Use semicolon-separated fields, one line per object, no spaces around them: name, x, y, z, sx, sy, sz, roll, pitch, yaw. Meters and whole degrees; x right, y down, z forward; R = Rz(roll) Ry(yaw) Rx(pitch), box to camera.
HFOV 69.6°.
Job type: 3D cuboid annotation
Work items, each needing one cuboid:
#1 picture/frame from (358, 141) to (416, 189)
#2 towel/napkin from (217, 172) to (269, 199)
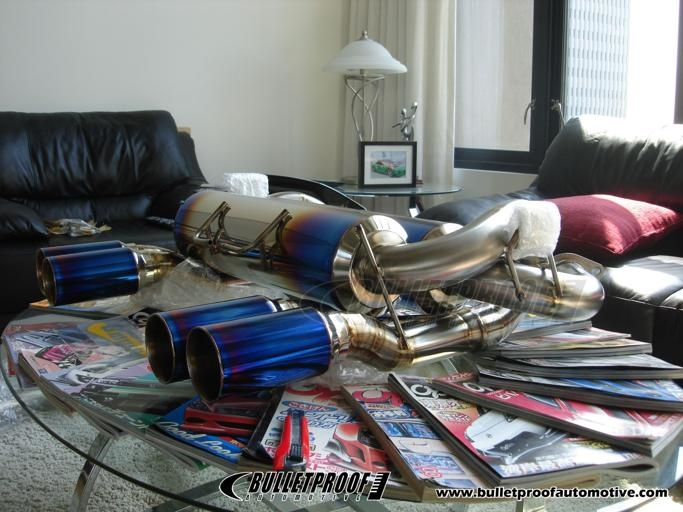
picture/frame;0.236;-0.498;2.699;0.373;0.197;0.035;0;0;-18
towel/napkin;-0.195;-0.146;1.022;0.111;0.021;0.100;-3;16;-29
